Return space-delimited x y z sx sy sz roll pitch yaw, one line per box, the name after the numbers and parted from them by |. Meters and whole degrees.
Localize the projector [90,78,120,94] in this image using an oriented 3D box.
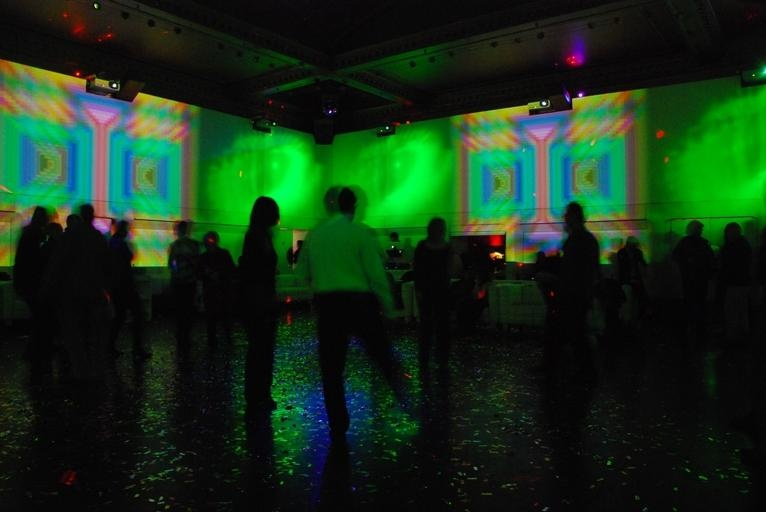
-5.433 -3.251 12.394 0.330 0.118 0.322 -2 -1 37 | projector

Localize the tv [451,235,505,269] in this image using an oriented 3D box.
1.988 -0.088 13.023 0.797 0.463 0.080 4 4 38 | tv
